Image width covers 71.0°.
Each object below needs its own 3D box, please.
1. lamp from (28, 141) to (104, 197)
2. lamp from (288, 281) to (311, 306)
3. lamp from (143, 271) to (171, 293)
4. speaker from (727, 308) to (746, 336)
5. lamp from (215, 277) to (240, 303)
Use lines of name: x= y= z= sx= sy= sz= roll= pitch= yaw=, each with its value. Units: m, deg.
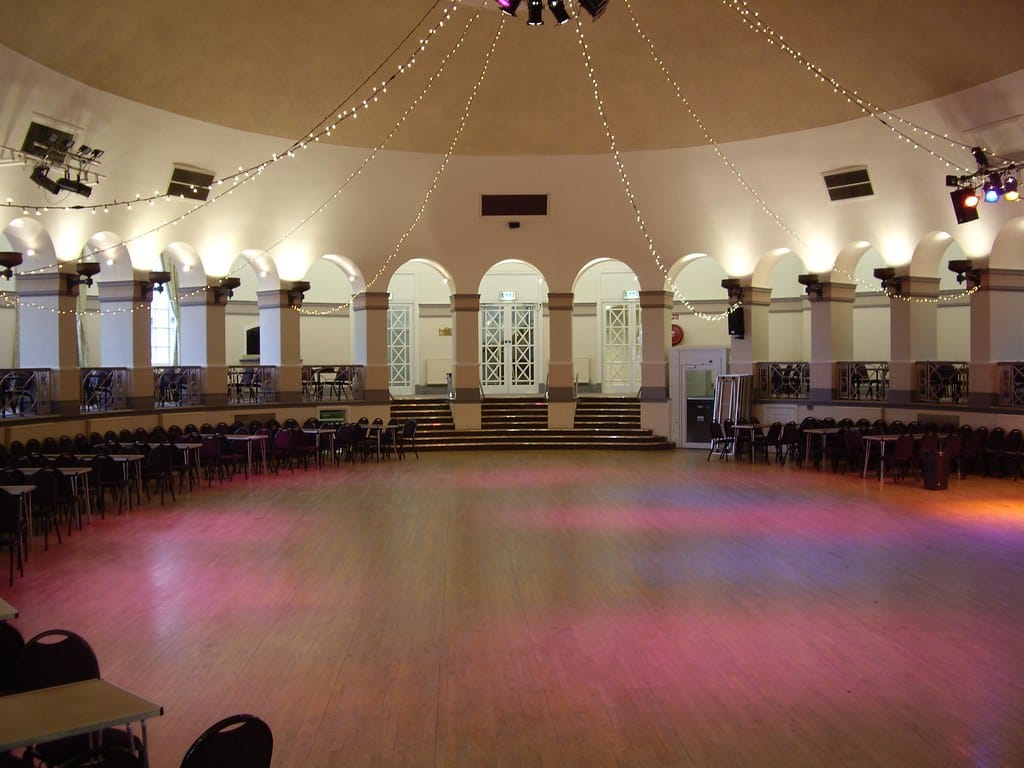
lamp: x=-7.613 y=-3.678 z=12.309 sx=0.949 sy=0.990 sz=1.527 roll=-1 pitch=2 yaw=-30
lamp: x=-5.210 y=-2.194 z=17.505 sx=0.465 sy=0.628 sz=0.292 roll=0 pitch=2 yaw=21
lamp: x=-7.514 y=-2.222 z=15.271 sx=0.370 sy=0.300 sz=0.396 roll=-7 pitch=-4 yaw=34
speaker: x=5.512 y=-1.492 z=17.489 sx=0.374 sy=0.759 sz=0.209 roll=0 pitch=2 yaw=23
lamp: x=-6.597 y=-2.192 z=16.627 sx=0.402 sy=0.527 sz=0.393 roll=1 pitch=2 yaw=44
